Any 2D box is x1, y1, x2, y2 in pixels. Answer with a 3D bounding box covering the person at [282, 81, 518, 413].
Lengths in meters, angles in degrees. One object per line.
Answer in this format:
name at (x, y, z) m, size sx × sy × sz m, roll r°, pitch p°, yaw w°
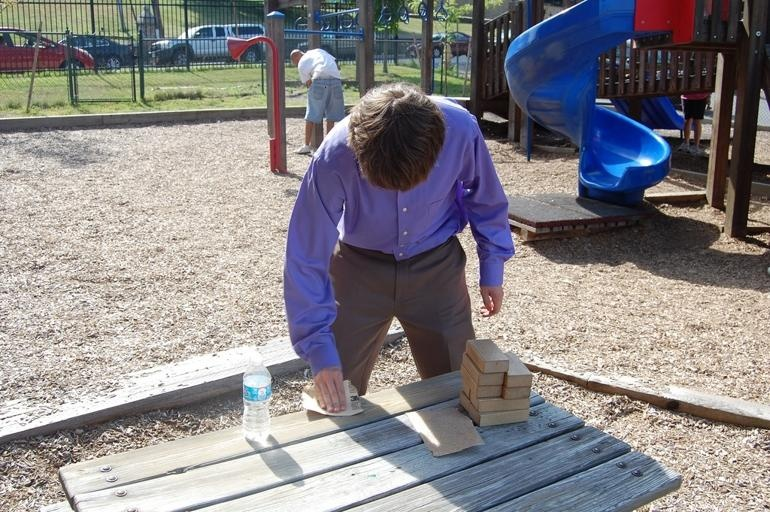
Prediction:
person at (0.103, -0.001, 3.566) m, size 1.264 × 1.715 × 0.735 m, roll -5°, pitch 17°, yaw -8°
